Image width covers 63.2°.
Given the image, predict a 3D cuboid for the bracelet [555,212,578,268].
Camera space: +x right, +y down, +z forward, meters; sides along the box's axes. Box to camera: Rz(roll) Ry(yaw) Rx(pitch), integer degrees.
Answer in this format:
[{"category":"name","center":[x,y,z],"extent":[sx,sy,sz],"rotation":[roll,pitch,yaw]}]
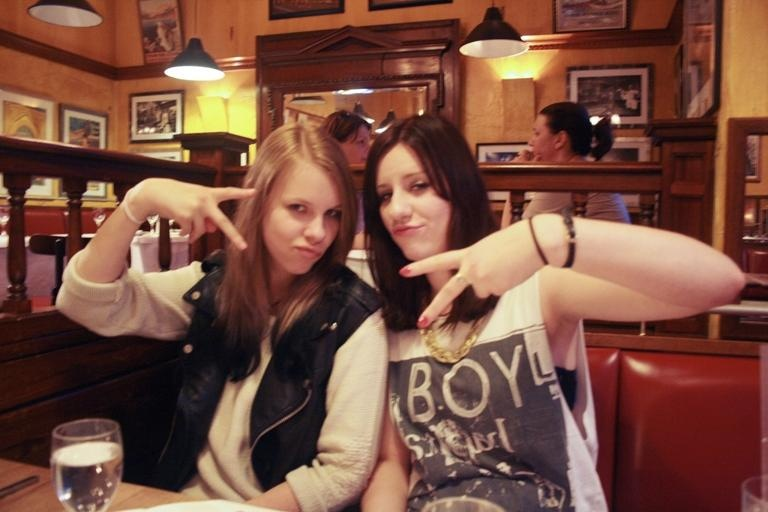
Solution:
[{"category":"bracelet","center":[0.620,-0.048,2.122],"extent":[0.047,0.179,0.056],"rotation":[1,4,-2]}]

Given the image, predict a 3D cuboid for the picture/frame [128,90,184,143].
[{"category":"picture/frame","center":[-2.895,-1.753,7.911],"extent":[0.032,0.656,0.901],"rotation":[19,23,24]}]

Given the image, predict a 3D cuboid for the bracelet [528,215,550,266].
[{"category":"bracelet","center":[0.518,-0.052,2.124],"extent":[0.082,0.160,0.056],"rotation":[3,5,34]}]

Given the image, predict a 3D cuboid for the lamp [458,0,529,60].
[{"category":"lamp","center":[0.976,-1.935,5.589],"extent":[0.504,0.502,0.518],"rotation":[-1,-14,5]}]

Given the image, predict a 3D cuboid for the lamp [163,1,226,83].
[{"category":"lamp","center":[-1.931,-2.108,6.464],"extent":[0.613,0.348,0.589],"rotation":[1,-9,-6]}]
